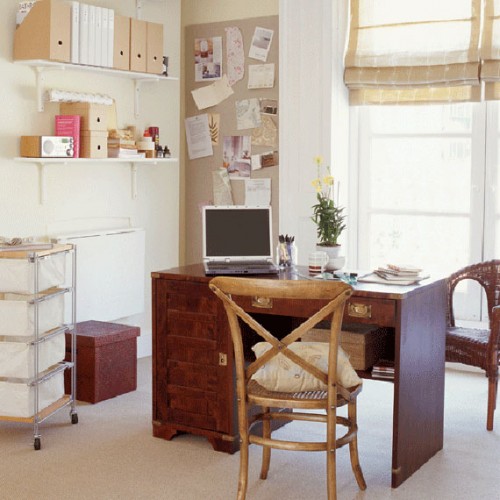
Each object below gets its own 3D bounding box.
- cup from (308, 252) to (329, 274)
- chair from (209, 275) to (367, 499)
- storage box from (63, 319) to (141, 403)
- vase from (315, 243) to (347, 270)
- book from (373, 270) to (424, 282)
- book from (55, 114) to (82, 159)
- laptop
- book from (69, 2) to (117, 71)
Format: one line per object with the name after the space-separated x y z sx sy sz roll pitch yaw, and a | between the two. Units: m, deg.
0.317 0.062 2.241 0.098 0.109 0.066 1 1 17 | cup
0.161 0.488 1.763 0.486 0.815 0.627 0 1 14 | chair
-0.835 0.628 2.994 0.376 0.414 0.385 3 6 27 | storage box
0.389 0.034 2.383 0.120 0.110 0.101 -4 0 30 | vase
0.601 0.106 2.043 0.201 0.039 0.161 1 1 22 | book
-1.054 -0.648 2.918 0.139 0.239 0.115 0 1 -21 | book
-0.041 -0.049 2.242 0.324 0.289 0.297 -1 3 -7 | laptop
-0.939 -1.158 3.071 0.289 0.456 0.418 0 4 -27 | book
